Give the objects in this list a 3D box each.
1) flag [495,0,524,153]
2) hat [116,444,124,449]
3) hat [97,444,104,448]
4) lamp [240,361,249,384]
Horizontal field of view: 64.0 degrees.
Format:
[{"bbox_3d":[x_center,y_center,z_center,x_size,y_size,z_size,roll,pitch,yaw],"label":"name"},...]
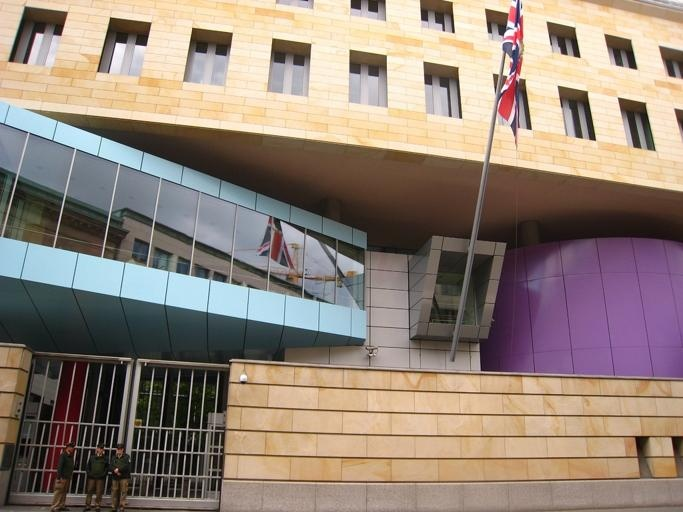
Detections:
[{"bbox_3d":[5.816,-6.294,18.681,1.017,4.716,3.136,-5,-18,17],"label":"flag"},{"bbox_3d":[-5.194,4.437,12.833,0.122,0.099,0.115,2,-10,-15],"label":"hat"},{"bbox_3d":[-5.667,4.428,12.816,0.107,0.032,0.096,0,-9,0],"label":"hat"},{"bbox_3d":[-2.527,3.060,14.166,0.211,0.427,0.193,4,-18,-9],"label":"lamp"}]
